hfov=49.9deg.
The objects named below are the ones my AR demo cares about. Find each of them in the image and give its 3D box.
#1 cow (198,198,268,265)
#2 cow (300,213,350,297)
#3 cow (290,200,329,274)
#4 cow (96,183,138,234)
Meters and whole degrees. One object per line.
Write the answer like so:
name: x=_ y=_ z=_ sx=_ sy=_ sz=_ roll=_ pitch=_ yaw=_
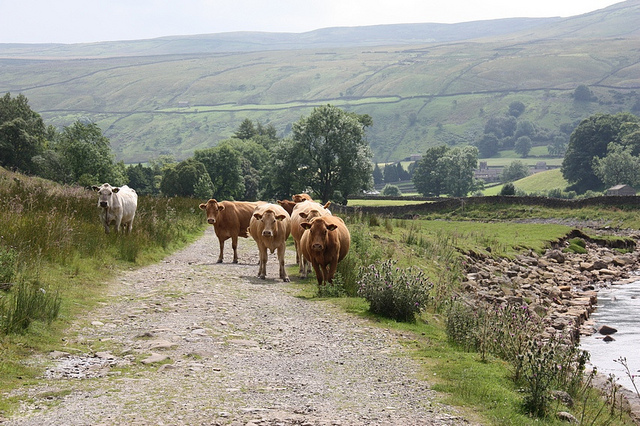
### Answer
cow: x=-4.246 y=0.840 z=34.802 sx=1.609 sy=3.041 sz=5.492 roll=-2 pitch=-1 yaw=23
cow: x=0.217 y=1.545 z=28.084 sx=1.653 sy=2.959 sz=3.103 roll=1 pitch=10 yaw=7
cow: x=-0.305 y=0.426 z=30.787 sx=1.194 sy=2.059 sz=3.668 roll=-2 pitch=2 yaw=-3
cow: x=-9.551 y=-0.326 z=32.781 sx=1.242 sy=2.407 sz=3.018 roll=-1 pitch=10 yaw=-2
